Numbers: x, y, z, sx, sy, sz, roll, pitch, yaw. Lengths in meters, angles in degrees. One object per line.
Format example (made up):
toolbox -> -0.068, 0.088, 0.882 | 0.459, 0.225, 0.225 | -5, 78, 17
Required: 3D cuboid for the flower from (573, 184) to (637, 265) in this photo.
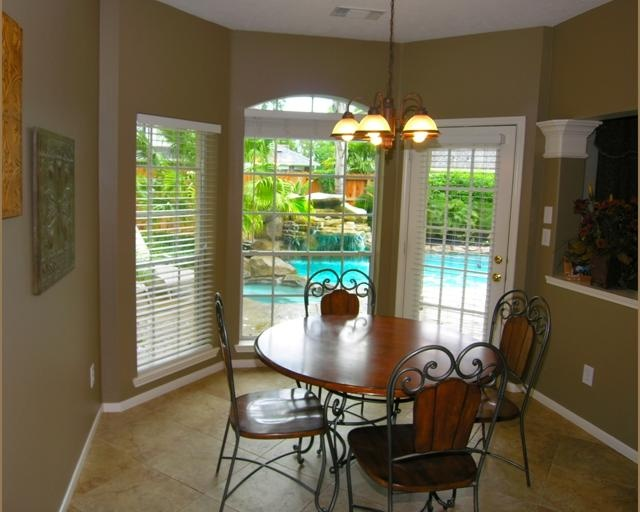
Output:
flower -> 2.092, -0.231, 3.688 | 0.454, 0.539, 0.463 | 4, -4, 10
